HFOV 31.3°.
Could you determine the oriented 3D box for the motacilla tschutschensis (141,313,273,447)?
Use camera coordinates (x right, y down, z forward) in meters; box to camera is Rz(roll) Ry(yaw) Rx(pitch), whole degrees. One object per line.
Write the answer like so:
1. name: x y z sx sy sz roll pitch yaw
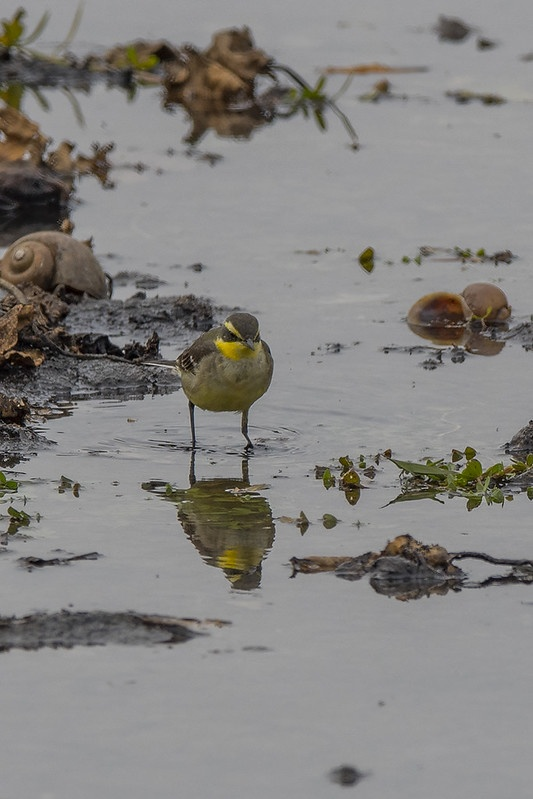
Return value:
1. motacilla tschutschensis: -0.342 -0.175 7.334 0.782 0.907 0.656 13 36 18
